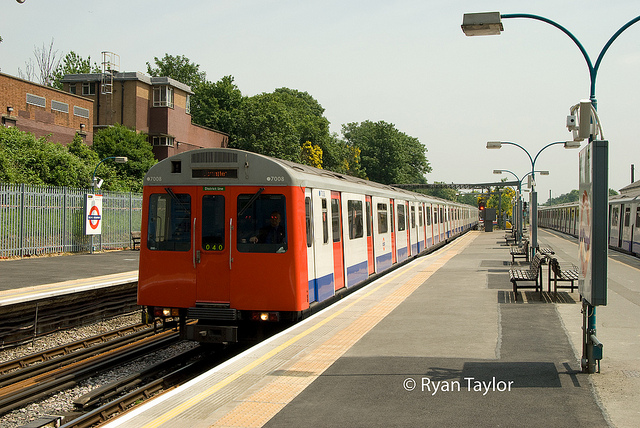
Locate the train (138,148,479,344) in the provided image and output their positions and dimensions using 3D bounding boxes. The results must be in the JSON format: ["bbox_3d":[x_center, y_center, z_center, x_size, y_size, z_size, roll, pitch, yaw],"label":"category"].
[{"bbox_3d":[1.966,0.855,23.252,3.430,4.473,25.046,-1,-1,22],"label":"train"}]

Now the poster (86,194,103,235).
[{"bbox_3d":[-11.146,-0.014,27.403,0.732,1.932,0.624,-2,3,-25],"label":"poster"}]

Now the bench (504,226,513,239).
[{"bbox_3d":[19.574,1.856,57.730,0.833,1.612,0.860,-1,-11,9],"label":"bench"}]

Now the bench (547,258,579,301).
[{"bbox_3d":[7.248,1.648,16.938,0.830,1.018,2.379,10,10,15],"label":"bench"}]

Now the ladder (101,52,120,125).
[{"bbox_3d":[-20.020,-12.190,52.345,1.246,1.318,5.248,-16,-30,-33],"label":"ladder"}]
